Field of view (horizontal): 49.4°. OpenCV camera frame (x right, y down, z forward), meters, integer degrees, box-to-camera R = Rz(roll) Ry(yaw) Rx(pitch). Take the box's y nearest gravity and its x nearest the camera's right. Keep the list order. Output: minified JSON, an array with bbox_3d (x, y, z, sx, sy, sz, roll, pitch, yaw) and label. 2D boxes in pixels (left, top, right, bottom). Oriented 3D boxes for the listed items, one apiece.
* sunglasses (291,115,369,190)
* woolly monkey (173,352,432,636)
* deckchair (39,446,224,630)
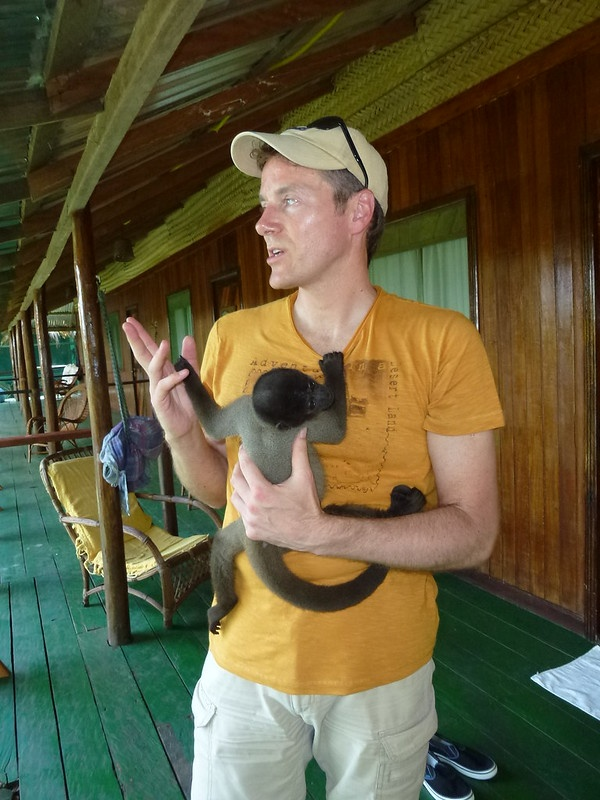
[{"bbox_3d":[0.087,-0.575,1.539,0.053,0.162,0.167,-31,27,-23],"label":"sunglasses"},{"bbox_3d":[-0.042,0.165,1.521,0.570,0.621,0.231,-3,-9,8],"label":"woolly monkey"},{"bbox_3d":[-1.077,0.840,4.499,1.336,1.030,0.955,-1,3,35],"label":"deckchair"}]
